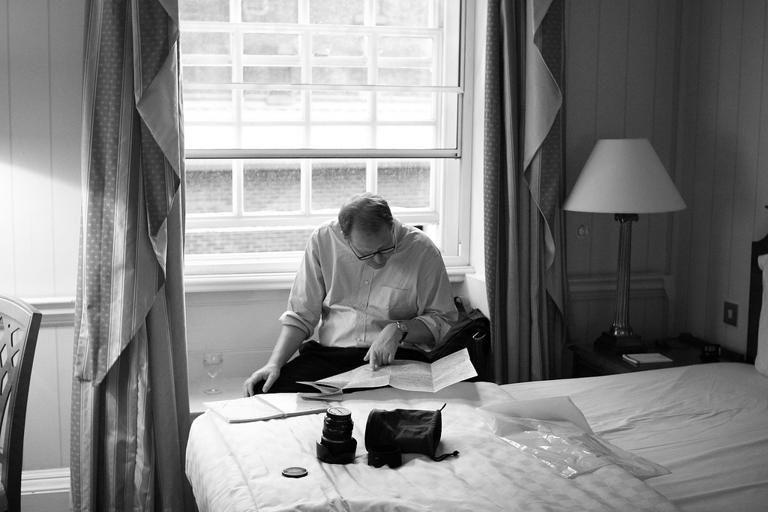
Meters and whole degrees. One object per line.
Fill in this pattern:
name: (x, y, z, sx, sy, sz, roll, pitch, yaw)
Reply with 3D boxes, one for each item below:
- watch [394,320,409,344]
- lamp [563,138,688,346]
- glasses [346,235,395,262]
watch: (0.082, 0.333, 2.862, 0.063, 0.088, 0.097, 9, 28, -15)
lamp: (1.158, -0.071, 3.203, 0.538, 0.851, 0.481, -1, 0, -5)
glasses: (-0.048, -0.033, 2.833, 0.236, 0.092, 0.131, -1, 0, -15)
